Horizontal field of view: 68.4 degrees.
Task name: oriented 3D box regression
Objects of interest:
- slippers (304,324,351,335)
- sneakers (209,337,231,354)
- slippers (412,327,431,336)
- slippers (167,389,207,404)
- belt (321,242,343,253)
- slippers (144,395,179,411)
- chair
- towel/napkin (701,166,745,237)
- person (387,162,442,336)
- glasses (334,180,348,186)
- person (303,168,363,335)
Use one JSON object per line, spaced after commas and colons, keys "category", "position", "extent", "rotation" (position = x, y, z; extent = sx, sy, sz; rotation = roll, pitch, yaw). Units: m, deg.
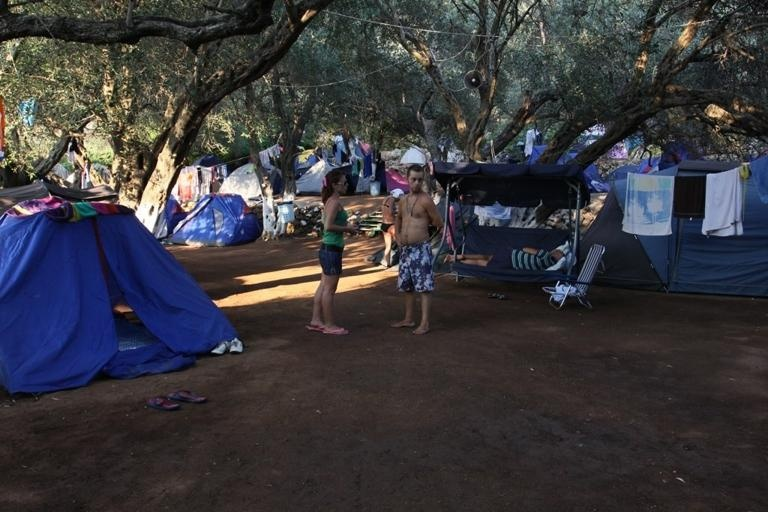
{"category": "slippers", "position": [-0.851, 1.033, 8.402], "extent": [0.539, 0.145, 0.219], "rotation": [1, 3, 26]}
{"category": "sneakers", "position": [-2.245, 1.243, 7.664], "extent": [0.107, 0.111, 0.274], "rotation": [-1, -2, 20]}
{"category": "slippers", "position": [0.552, 1.121, 8.479], "extent": [0.273, 0.189, 0.100], "rotation": [9, -6, -25]}
{"category": "slippers", "position": [-2.205, 1.568, 6.310], "extent": [0.430, 0.114, 0.159], "rotation": [2, 3, 14]}
{"category": "belt", "position": [-0.771, -0.129, 8.079], "extent": [0.323, 0.115, 0.133], "rotation": [1, 12, 4]}
{"category": "slippers", "position": [-2.409, 1.603, 6.156], "extent": [0.335, 0.099, 0.152], "rotation": [2, 4, 19]}
{"category": "chair", "position": [3.741, 0.342, 10.757], "extent": [1.439, 1.428, 1.000], "rotation": [-4, 6, -4]}
{"category": "towel/napkin", "position": [6.315, -1.028, 10.502], "extent": [0.647, 1.262, 0.350], "rotation": [6, 14, 23]}
{"category": "person", "position": [0.492, -0.123, 8.606], "extent": [0.705, 2.524, 1.108], "rotation": [1, 13, 4]}
{"category": "glasses", "position": [-0.626, -1.053, 8.138], "extent": [0.158, 0.103, 0.117], "rotation": [-3, 13, -13]}
{"category": "person", "position": [-0.819, -0.056, 8.426], "extent": [0.679, 2.430, 1.152], "rotation": [-2, 13, -8]}
